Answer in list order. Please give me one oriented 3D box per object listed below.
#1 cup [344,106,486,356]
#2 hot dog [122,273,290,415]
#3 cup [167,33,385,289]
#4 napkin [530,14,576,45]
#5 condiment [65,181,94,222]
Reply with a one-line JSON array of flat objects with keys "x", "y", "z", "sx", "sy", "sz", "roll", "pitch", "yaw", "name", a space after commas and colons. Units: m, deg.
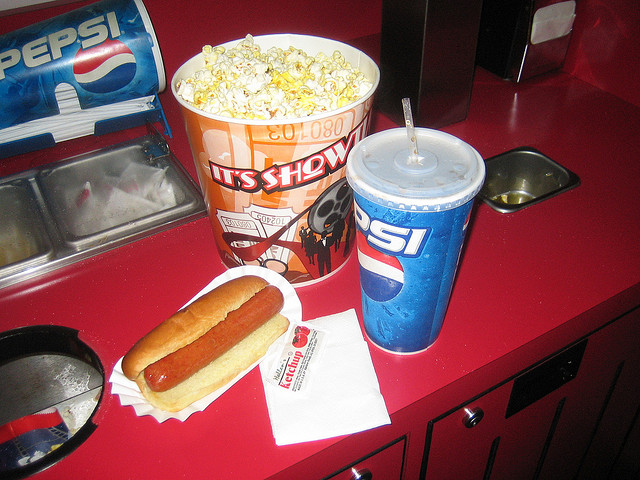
[{"x": 0.172, "y": -0.007, "z": 0.945, "sx": 0.231, "sy": 0.448, "sz": 0.202, "roll": -5, "pitch": 40, "yaw": 2, "name": "cup"}, {"x": -0.219, "y": 0.243, "z": 1.056, "sx": 0.308, "sy": 0.108, "sz": 0.207, "roll": -32, "pitch": 62, "yaw": -20, "name": "hot dog"}, {"x": -0.072, "y": -0.166, "z": 1.137, "sx": 0.466, "sy": 0.379, "sz": 0.430, "roll": -2, "pitch": 32, "yaw": 1, "name": "cup"}, {"x": 0.721, "y": -0.663, "z": 1.574, "sx": 0.107, "sy": 0.076, "sz": 0.022, "roll": -21, "pitch": 47, "yaw": -2, "name": "napkin"}, {"x": -0.694, "y": -0.116, "z": 1.438, "sx": 0.079, "sy": 0.075, "sz": 0.101, "roll": 25, "pitch": 42, "yaw": 21, "name": "condiment"}]
